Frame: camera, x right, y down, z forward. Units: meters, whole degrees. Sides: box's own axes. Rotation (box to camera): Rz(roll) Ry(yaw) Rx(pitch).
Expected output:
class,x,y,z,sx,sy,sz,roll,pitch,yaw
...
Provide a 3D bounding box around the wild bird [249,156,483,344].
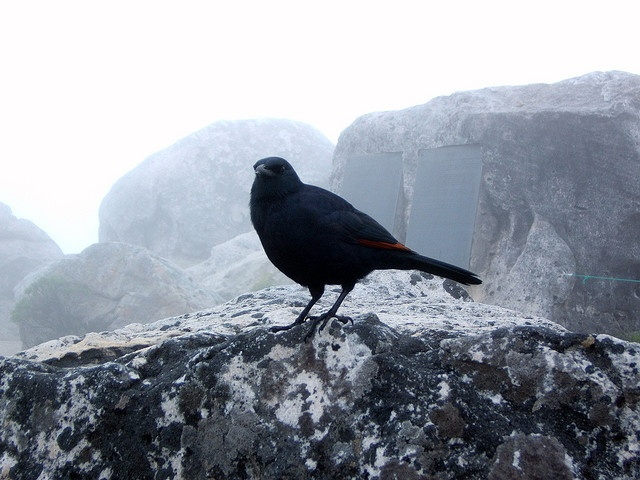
class,x,y,z,sx,sy,sz,roll,pitch,yaw
wild bird,0.364,0.020,4.299,1.853,1.351,0.636,-1,1,-23
